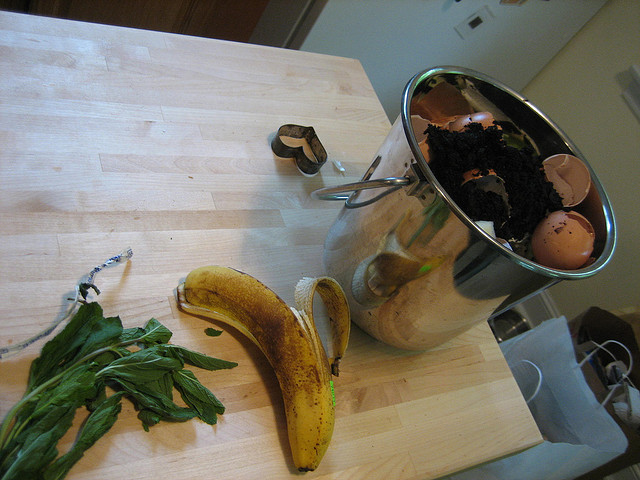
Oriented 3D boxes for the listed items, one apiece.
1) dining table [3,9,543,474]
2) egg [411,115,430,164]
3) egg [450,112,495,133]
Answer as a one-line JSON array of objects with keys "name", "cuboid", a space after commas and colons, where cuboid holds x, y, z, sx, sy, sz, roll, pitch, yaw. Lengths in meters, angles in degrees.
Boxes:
[{"name": "dining table", "cuboid": [-0.099, -0.040, 0.817, 0.769, 0.369, 0.964, 0, 42, -34]}, {"name": "egg", "cuboid": [0.165, -0.175, 0.741, 0.028, 0.032, 0.113, 7, 59, -11]}, {"name": "egg", "cuboid": [0.250, -0.197, 0.743, 0.065, 0.017, 0.043, -15, 23, -2]}]
